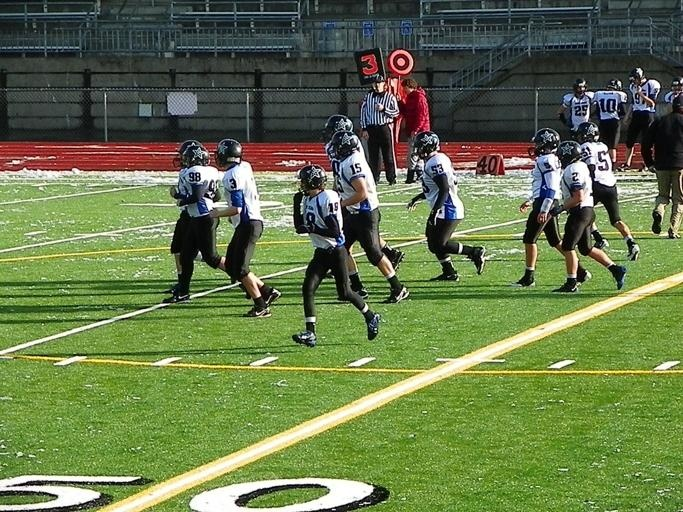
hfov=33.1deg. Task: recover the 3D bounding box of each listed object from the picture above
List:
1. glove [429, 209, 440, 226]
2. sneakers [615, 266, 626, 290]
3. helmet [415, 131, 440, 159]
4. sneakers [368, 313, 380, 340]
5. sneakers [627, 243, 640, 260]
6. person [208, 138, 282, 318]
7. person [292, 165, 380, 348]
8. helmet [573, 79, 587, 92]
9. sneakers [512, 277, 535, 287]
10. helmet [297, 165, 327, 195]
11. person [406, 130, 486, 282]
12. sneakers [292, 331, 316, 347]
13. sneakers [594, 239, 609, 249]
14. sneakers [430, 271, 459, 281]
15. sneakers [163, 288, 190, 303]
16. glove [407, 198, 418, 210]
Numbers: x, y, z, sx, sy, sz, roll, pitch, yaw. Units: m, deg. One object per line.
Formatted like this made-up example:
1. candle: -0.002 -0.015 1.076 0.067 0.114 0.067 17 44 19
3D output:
1. glove: 1.136 -0.486 14.108 0.065 0.151 0.121 3 28 -10
2. sneakers: 3.305 0.287 13.613 0.153 0.339 0.118 -1 20 8
3. helmet: 1.093 -1.375 14.077 0.349 0.294 0.254 -2 14 -2
4. sneakers: 0.334 0.701 11.556 0.141 0.288 0.099 -5 5 -7
5. sneakers: 3.938 -0.097 15.483 0.112 0.294 0.131 2 -37 17
6. person: -1.079 -0.313 12.987 0.621 1.967 0.715 -5 12 -17
7. person: -0.104 -0.016 11.642 0.821 1.784 1.077 -2 11 -3
8. helmet: 4.943 -3.568 23.861 0.230 0.253 0.294 8 -12 -38
9. sneakers: 2.252 0.332 14.194 0.283 0.110 0.100 4 15 13
10. helmet: -0.305 -0.792 11.627 0.296 0.244 0.238 1 5 5
11. person: 1.327 -0.614 14.459 0.953 1.948 1.163 0 11 5
12. sneakers: -0.375 0.817 11.325 0.289 0.107 0.138 9 -42 -41
13. sneakers: 3.691 -0.164 16.337 0.146 0.164 0.397 0 4 20
14. sneakers: 1.330 0.268 14.650 0.389 0.148 0.133 3 13 7
15. sneakers: -1.999 0.481 13.736 0.395 0.180 0.131 2 3 15
16. glove: 0.873 -0.666 14.405 0.142 0.083 0.213 -6 -4 -25
